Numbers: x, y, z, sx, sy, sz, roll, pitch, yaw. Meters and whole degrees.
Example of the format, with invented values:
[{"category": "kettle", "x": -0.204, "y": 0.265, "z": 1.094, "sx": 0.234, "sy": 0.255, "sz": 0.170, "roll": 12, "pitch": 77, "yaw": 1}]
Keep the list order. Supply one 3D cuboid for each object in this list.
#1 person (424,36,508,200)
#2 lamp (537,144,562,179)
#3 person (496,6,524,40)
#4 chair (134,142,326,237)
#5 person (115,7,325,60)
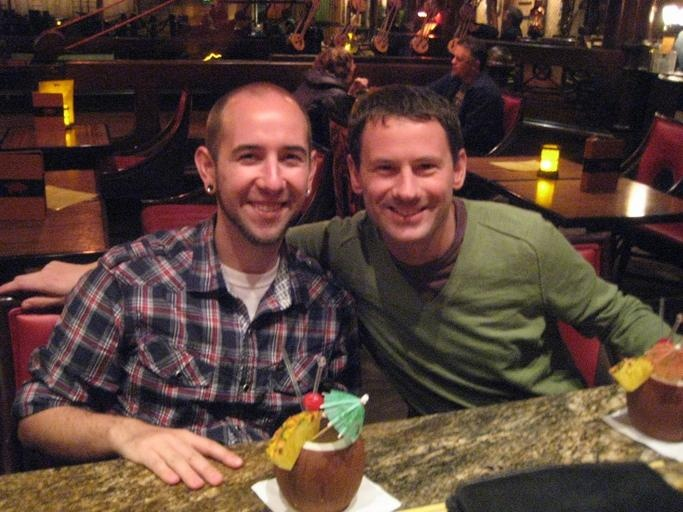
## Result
[{"category": "person", "x": 1.251, "y": -1.468, "z": 6.299, "sx": 0.920, "sy": 1.713, "sz": 0.764, "roll": -9, "pitch": 37, "yaw": -9}, {"category": "lamp", "x": 1.472, "y": -0.643, "z": 4.052, "sx": 0.170, "sy": 0.251, "sz": 0.174, "roll": 7, "pitch": -3, "yaw": 0}, {"category": "person", "x": 3.394, "y": -4.614, "z": 11.352, "sx": 0.388, "sy": 0.734, "sz": 1.025, "roll": 4, "pitch": 17, "yaw": 14}, {"category": "chair", "x": -0.879, "y": -0.368, "z": 3.991, "sx": 0.621, "sy": 0.845, "sz": 0.707, "roll": 5, "pitch": -2, "yaw": 22}, {"category": "person", "x": -1.721, "y": -3.375, "z": 8.567, "sx": 2.789, "sy": 0.842, "sz": 0.778, "roll": -1, "pitch": 17, "yaw": -2}]
